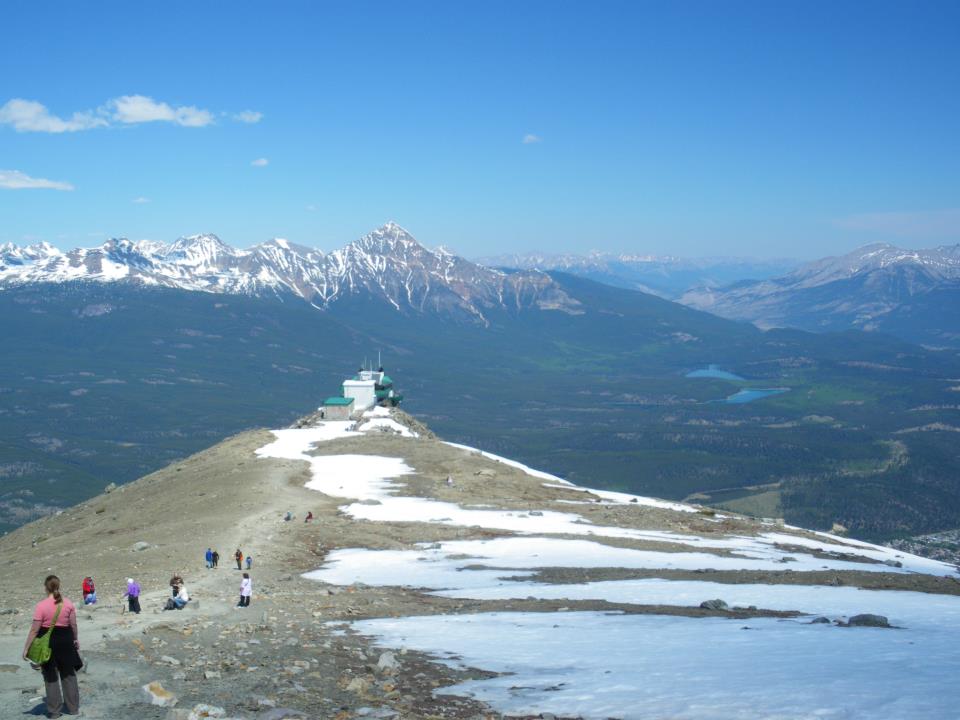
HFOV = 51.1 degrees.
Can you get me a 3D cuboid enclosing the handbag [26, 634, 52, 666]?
[{"bbox_3d":[-14.410,9.340,32.639,1.024,0.906,0.483,-2,-15,42],"label":"handbag"}]
